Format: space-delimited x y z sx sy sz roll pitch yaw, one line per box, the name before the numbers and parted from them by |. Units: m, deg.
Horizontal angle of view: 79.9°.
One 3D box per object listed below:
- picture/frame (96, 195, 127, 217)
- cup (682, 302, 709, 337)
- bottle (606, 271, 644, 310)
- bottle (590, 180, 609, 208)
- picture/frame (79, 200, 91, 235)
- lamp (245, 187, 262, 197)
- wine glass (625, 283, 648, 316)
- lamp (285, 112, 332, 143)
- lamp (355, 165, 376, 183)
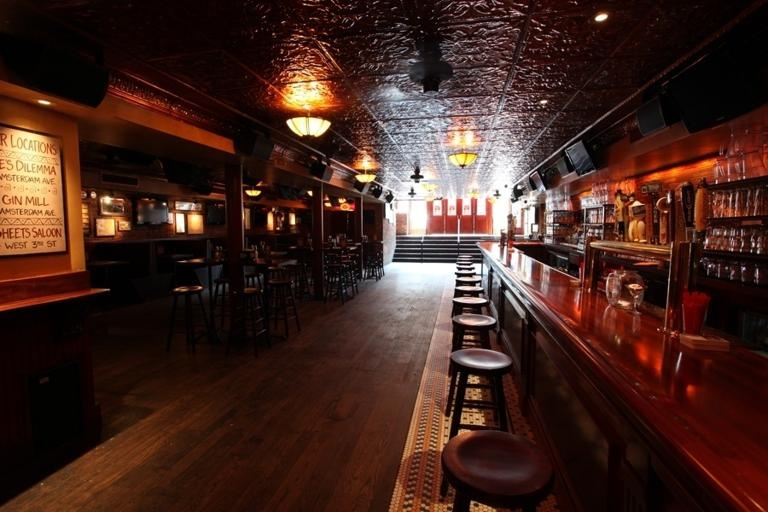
picture/frame | -5.814 -1.065 9.764 0.151 0.333 0.637 0 1 14
cup | 2.152 0.425 3.142 0.229 0.217 0.118 -3 4 -25
bottle | 1.903 0.260 3.628 0.337 0.296 0.255 3 -4 -16
bottle | 4.230 -1.235 8.962 0.431 0.503 0.398 0 4 0
picture/frame | -6.008 -0.770 9.207 0.127 0.700 0.268 -3 4 -20
lamp | -3.735 -1.830 12.975 0.415 0.194 0.594 -3 3 -18
wine glass | 1.987 0.318 3.625 0.125 0.239 0.244 0 4 29
lamp | -1.064 -1.737 6.284 0.510 0.286 1.048 -2 3 -11
lamp | -0.420 -1.917 10.656 0.394 0.403 0.389 -5 6 -19
